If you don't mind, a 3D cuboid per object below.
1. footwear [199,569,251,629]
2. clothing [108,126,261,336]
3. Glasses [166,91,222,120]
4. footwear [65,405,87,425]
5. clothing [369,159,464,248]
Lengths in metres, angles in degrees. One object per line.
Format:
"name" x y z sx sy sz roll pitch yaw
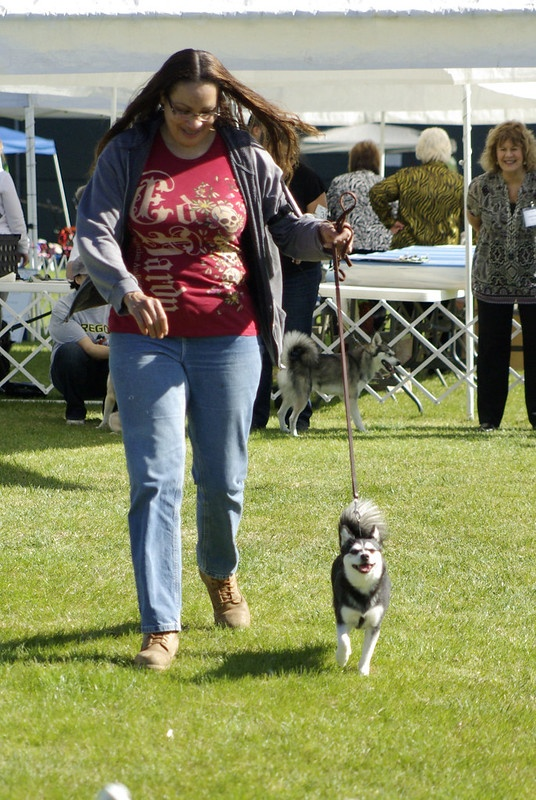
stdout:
"footwear" -0.121 0.630 3.630 0.088 0.248 0.110 -17 -13 -1
"clothing" -0.209 -0.493 3.362 0.409 0.602 0.384 5 9 35
"Glasses" -0.203 -0.794 3.222 0.145 0.074 0.089 -2 6 -12
"footwear" -1.236 0.099 7.560 0.153 0.190 0.113 0 -8 -12
"clothing" 1.158 -1.450 8.857 0.830 0.731 0.388 1 24 -10
